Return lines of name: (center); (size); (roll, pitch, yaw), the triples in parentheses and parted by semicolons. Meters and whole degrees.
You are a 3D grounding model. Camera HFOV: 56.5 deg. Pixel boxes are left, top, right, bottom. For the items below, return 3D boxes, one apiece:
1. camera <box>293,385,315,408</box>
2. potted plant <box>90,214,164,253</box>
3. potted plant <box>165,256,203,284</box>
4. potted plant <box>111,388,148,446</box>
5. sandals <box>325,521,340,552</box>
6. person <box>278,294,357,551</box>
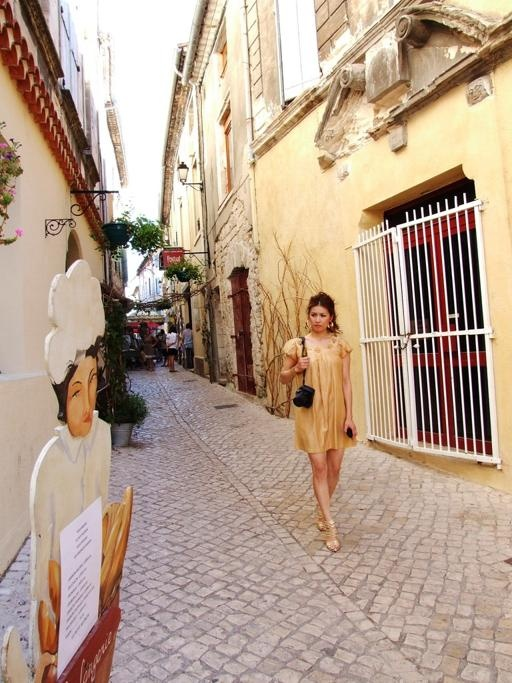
camera: (0.300, 0.339, 2.979); (0.133, 0.112, 0.118); (-3, -1, 7)
potted plant: (-2.449, -2.200, 9.467); (1.265, 0.679, 0.703); (-1, -2, -45)
potted plant: (-2.224, -2.097, 14.427); (0.868, 0.747, 0.930); (0, 7, -20)
potted plant: (-1.831, 1.004, 6.765); (0.645, 0.900, 0.571); (0, 3, -18)
sandals: (0.473, 1.196, 2.947); (0.090, 0.138, 0.089); (-3, -1, 12)
person: (0.439, 0.476, 3.115); (0.479, 1.238, 0.354); (-2, -1, -27)
